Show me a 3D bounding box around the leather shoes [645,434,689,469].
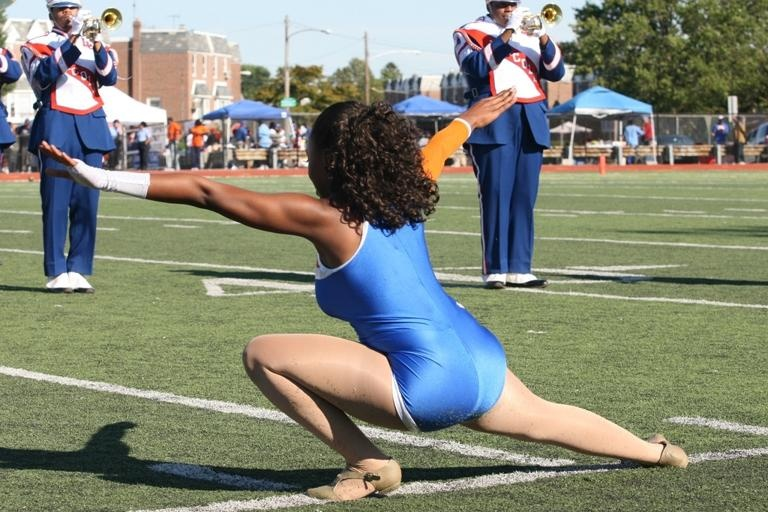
[{"bbox_3d":[1.328,0.937,4.852,0.167,0.063,0.162,15,22,6],"label":"leather shoes"}]

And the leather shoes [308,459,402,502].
[{"bbox_3d":[-0.125,1.017,4.651,0.331,0.121,0.185,-2,-3,-2],"label":"leather shoes"}]

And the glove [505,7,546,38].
[{"bbox_3d":[1.213,-2.024,8.846,0.304,0.219,0.466,2,4,15],"label":"glove"}]

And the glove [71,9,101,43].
[{"bbox_3d":[-2.549,-1.986,8.835,0.262,0.288,0.324,0,4,-17],"label":"glove"}]
